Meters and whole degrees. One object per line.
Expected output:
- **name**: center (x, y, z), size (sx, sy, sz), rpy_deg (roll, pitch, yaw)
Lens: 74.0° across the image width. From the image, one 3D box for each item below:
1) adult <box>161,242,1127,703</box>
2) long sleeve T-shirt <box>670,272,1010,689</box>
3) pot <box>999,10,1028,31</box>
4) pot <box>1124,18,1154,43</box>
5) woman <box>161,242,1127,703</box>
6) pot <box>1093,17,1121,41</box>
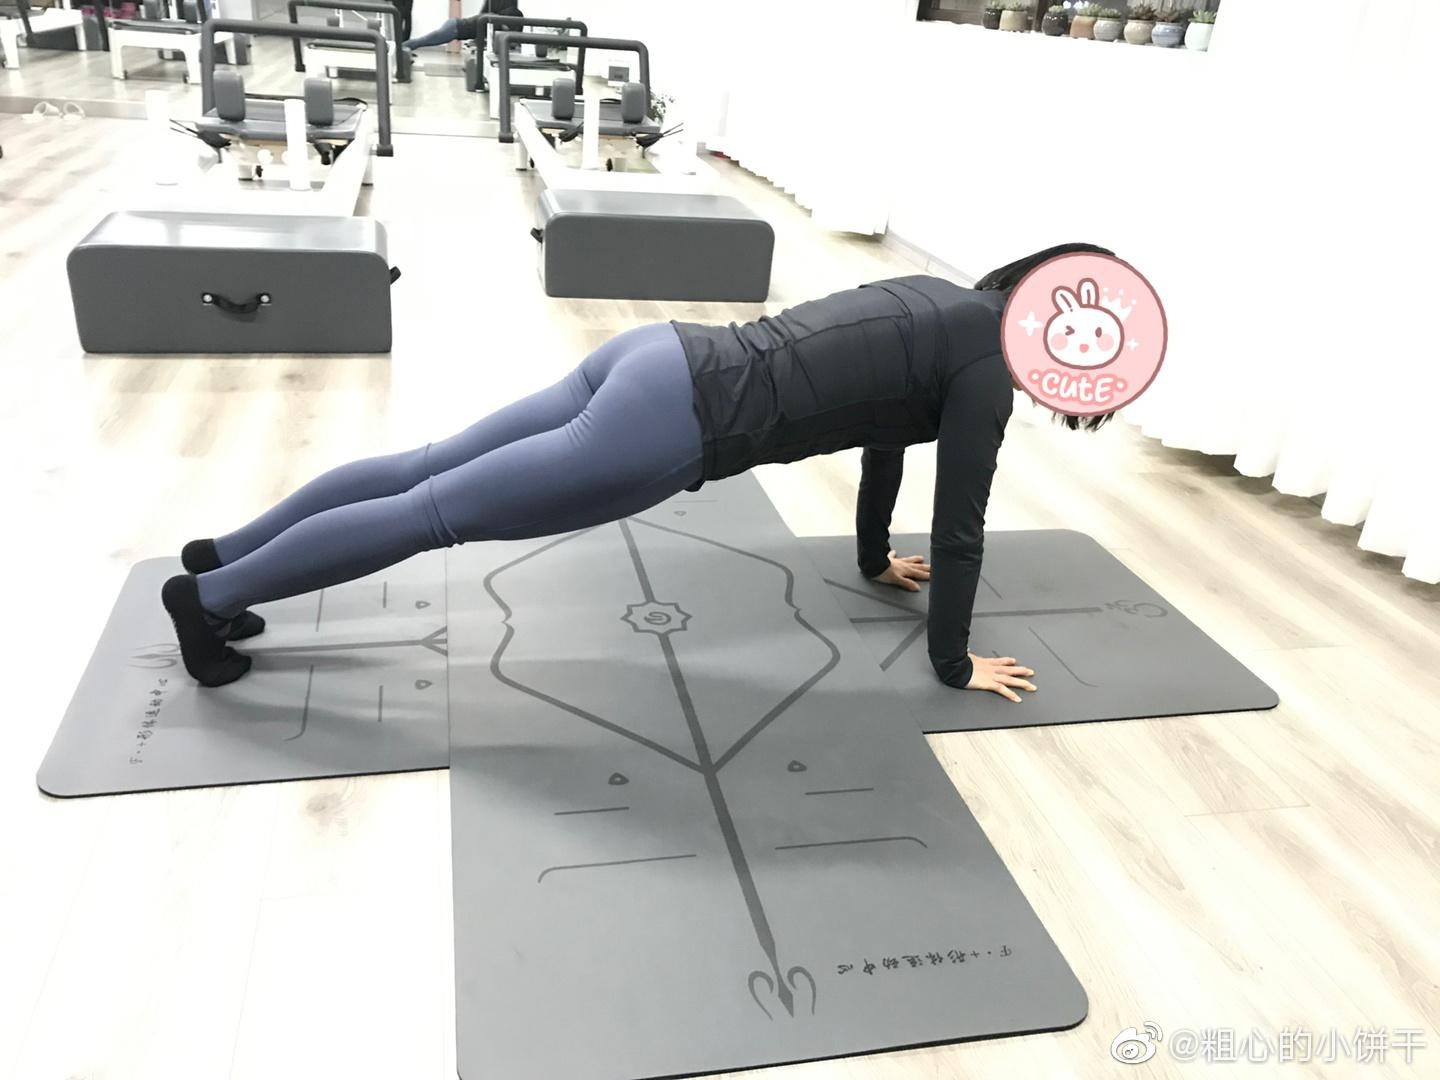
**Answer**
- **adult**: center (-0.110, -0.126, 1.964), size (1.984, 0.876, 0.555), rpy_deg (-6, 34, -10)
- **long sleeve T-shirt**: center (0.249, -0.127, 2.049), size (0.706, 0.798, 0.556), rpy_deg (-8, 27, -2)
- **pot**: center (1.377, -2.406, 4.438), size (0.128, 0.086, 0.111), rpy_deg (7, 27, 5)
- **pot**: center (1.629, -1.959, 3.718), size (0.097, 0.069, 0.098), rpy_deg (0, 22, 0)
- **woman**: center (-0.103, -0.109, 1.969), size (1.939, 0.821, 0.552), rpy_deg (-6, 32, -9)
- **pot**: center (1.586, -2.078, 3.898), size (0.112, 0.080, 0.143), rpy_deg (10, 27, 11)
